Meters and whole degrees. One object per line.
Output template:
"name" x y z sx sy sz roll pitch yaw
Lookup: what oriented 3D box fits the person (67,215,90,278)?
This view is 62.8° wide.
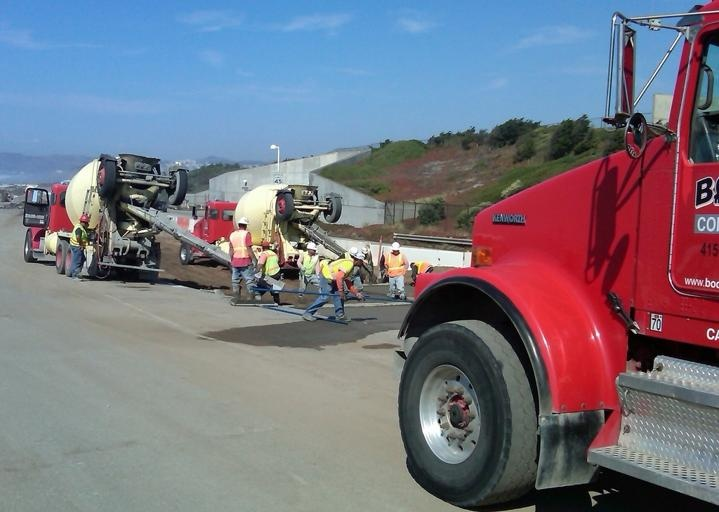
"person" -8.220 -0.297 17.213 0.521 1.869 0.720 0 4 -25

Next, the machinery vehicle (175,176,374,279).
"machinery vehicle" -3.486 -0.985 21.356 8.160 3.295 2.637 4 4 42

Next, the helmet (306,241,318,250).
"helmet" -1.263 -0.259 15.395 0.308 0.321 0.242 0 3 -43

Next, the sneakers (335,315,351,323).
"sneakers" -0.377 1.385 12.862 0.133 0.176 0.404 1 -3 -23

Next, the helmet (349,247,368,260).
"helmet" -0.053 -0.061 14.893 0.311 0.177 0.440 9 0 -28

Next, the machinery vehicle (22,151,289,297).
"machinery vehicle" -6.985 -1.108 17.658 9.839 3.919 3.170 8 3 42

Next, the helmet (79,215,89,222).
"helmet" -8.017 -1.099 17.142 0.224 0.245 0.345 0 4 -26
